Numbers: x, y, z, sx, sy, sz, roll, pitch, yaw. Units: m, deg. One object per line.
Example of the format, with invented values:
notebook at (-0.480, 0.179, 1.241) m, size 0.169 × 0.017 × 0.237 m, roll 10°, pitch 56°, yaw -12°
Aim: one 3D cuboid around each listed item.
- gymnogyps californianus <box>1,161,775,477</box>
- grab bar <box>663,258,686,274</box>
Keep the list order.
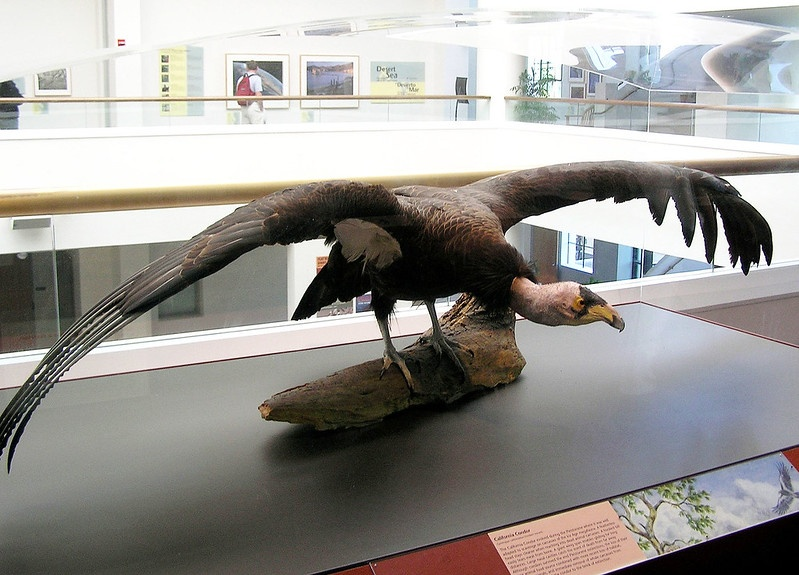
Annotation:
gymnogyps californianus at (0.095, -0.006, 1.323) m, size 1.709 × 0.463 × 0.351 m, roll -7°, pitch 10°, yaw -12°
grab bar at (0.799, -0.059, 1.826) m, size 0.023 × 0.012 × 0.071 m, roll 1°, pitch -25°, yaw 10°
